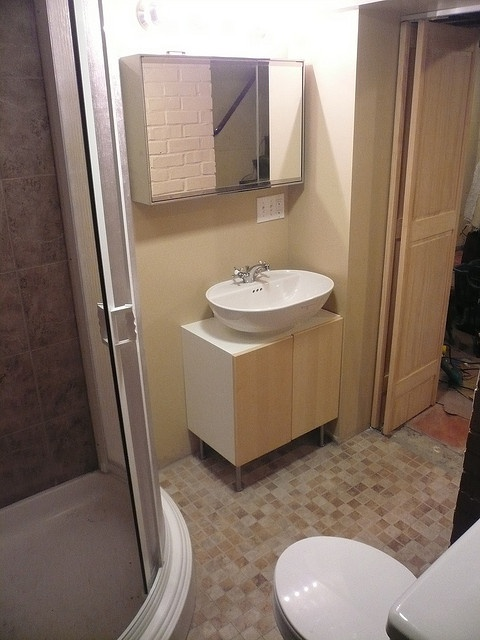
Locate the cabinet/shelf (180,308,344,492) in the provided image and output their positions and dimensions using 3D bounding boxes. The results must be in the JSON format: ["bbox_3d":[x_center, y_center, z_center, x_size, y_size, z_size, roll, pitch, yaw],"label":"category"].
[{"bbox_3d":[0.137,0.330,2.312,0.596,0.749,0.445,-17,25,-29],"label":"cabinet/shelf"}]

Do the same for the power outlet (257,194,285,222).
[{"bbox_3d":[0.142,-0.545,2.267,0.105,0.089,0.011,-26,36,-36],"label":"power outlet"}]
